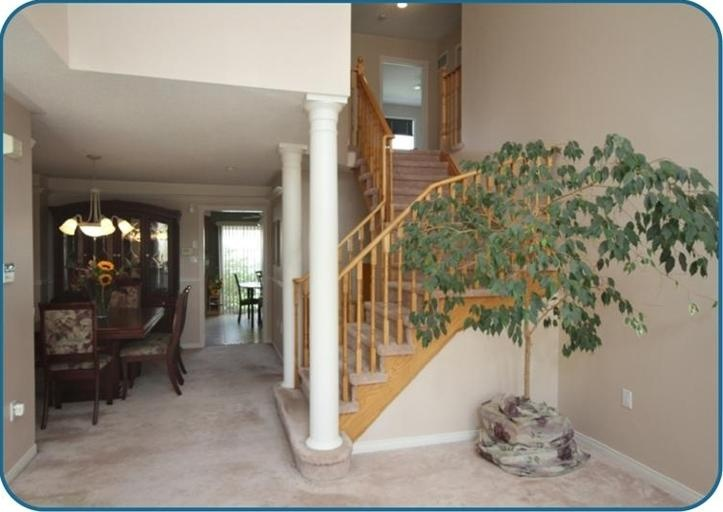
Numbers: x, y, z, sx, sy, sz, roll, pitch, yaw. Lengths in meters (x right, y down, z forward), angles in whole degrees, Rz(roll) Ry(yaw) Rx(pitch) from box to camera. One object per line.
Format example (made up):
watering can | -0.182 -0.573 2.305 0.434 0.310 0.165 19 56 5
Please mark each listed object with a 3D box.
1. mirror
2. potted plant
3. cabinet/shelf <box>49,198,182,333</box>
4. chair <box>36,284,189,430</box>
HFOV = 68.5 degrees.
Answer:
mirror | -3.494 0.022 7.364 1.156 1.118 0.421 2 -2 -30
potted plant | 1.560 0.414 4.524 2.318 2.838 1.348 3 7 18
cabinet/shelf | -3.409 0.110 7.171 1.927 2.527 0.654 -1 1 -34
chair | -2.669 1.021 5.855 1.178 1.057 1.791 -2 5 -9
